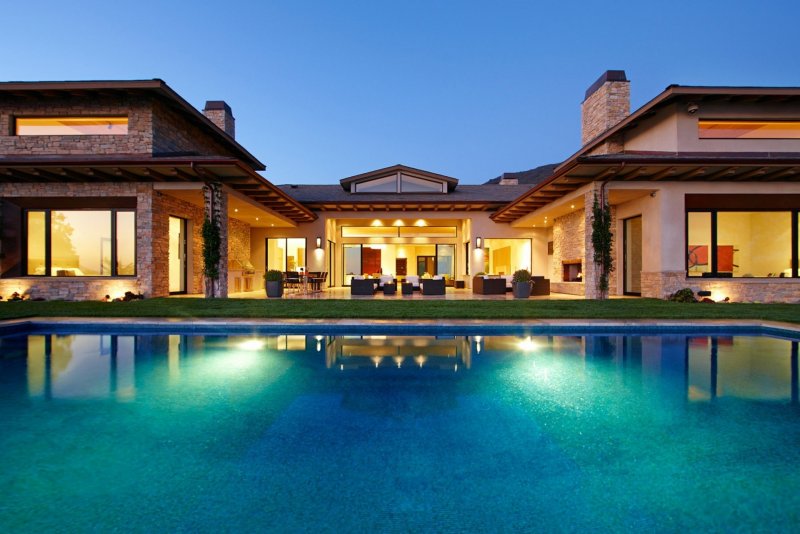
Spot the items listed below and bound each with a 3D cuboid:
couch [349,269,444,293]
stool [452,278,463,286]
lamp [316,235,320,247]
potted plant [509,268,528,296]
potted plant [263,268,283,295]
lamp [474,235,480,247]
[{"bbox_3d":[0.053,0.679,26.897,3.739,0.927,4.308,0,-2,12],"label":"couch"},{"bbox_3d":[2.878,0.758,30.494,0.431,0.393,0.574,0,-2,0],"label":"stool"},{"bbox_3d":[-3.940,-1.253,29.648,0.264,0.533,0.081,1,-3,-7],"label":"lamp"},{"bbox_3d":[4.734,0.588,24.345,0.680,1.080,0.598,0,-3,1],"label":"potted plant"},{"bbox_3d":[-4.946,0.575,24.033,0.645,1.077,0.874,1,-3,-14],"label":"potted plant"},{"bbox_3d":[3.753,-1.281,29.889,0.280,0.588,0.248,0,-3,2],"label":"lamp"}]
